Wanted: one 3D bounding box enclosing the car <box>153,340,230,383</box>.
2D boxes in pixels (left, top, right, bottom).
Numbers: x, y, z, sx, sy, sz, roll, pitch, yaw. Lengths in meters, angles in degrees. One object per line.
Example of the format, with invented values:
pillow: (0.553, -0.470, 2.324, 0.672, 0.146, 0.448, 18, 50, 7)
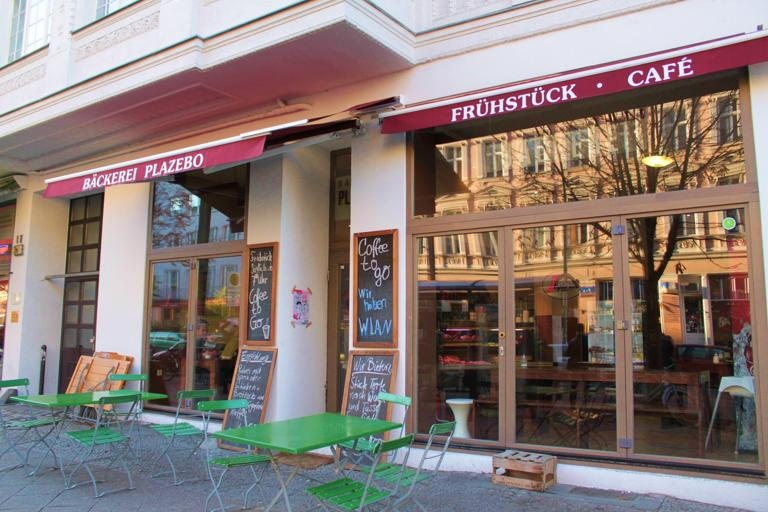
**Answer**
car: (-3.694, 2.099, 11.028, 1.994, 0.808, 0.752, 1, -4, 10)
